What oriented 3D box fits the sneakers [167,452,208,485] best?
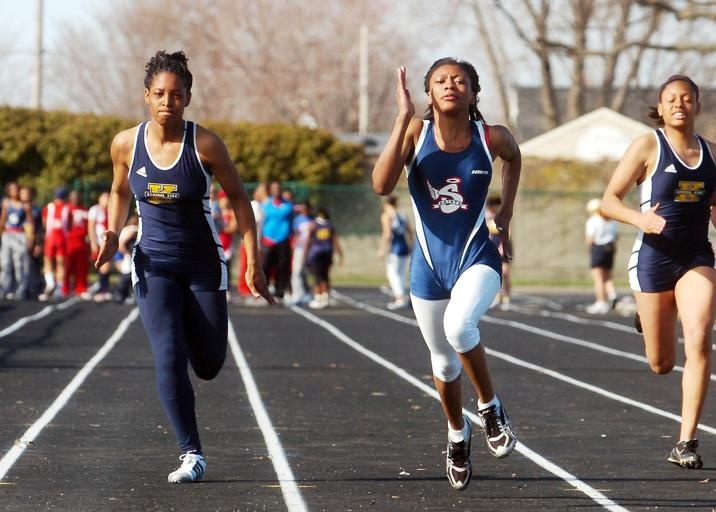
[{"bbox_3d":[-1.184,1.445,7.021,0.130,0.155,0.340,2,-8,18],"label":"sneakers"}]

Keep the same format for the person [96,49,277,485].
[{"bbox_3d":[-1.196,0.066,7.060,1.096,2.927,0.405,1,4,-2],"label":"person"}]

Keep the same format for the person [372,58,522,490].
[{"bbox_3d":[0.631,0.112,7.058,0.946,2.911,0.779,2,4,8],"label":"person"}]

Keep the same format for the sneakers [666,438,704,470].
[{"bbox_3d":[2.332,1.430,7.445,0.129,0.134,0.309,8,-9,-14],"label":"sneakers"}]

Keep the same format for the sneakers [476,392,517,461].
[{"bbox_3d":[0.885,1.164,7.080,0.176,0.500,0.238,-22,-23,21],"label":"sneakers"}]

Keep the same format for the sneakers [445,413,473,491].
[{"bbox_3d":[0.706,1.347,7.077,0.171,0.469,0.209,-3,-12,16],"label":"sneakers"}]
